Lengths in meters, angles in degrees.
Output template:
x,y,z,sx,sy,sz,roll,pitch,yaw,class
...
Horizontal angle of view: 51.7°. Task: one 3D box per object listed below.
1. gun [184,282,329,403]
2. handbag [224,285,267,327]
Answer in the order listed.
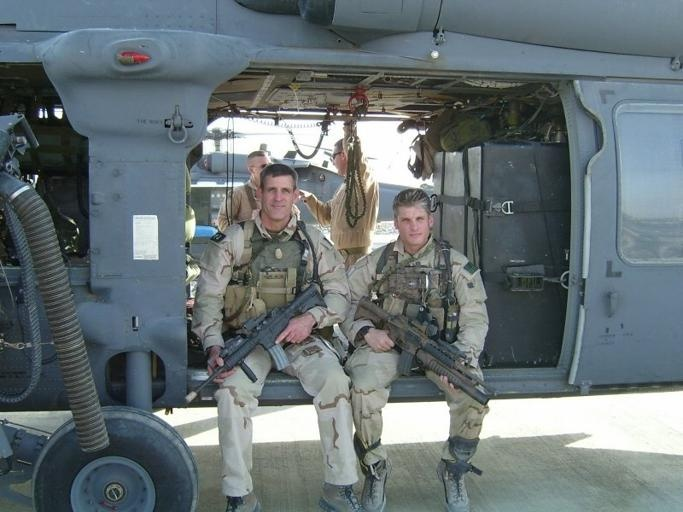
x,y,z,sx,sy,sz,roll,pitch,yaw,class
-0.503,0.592,4.301,0.112,0.415,1.094,7,38,47,gun
-0.630,0.314,4.537,0.271,0.254,0.253,0,2,-20,handbag
